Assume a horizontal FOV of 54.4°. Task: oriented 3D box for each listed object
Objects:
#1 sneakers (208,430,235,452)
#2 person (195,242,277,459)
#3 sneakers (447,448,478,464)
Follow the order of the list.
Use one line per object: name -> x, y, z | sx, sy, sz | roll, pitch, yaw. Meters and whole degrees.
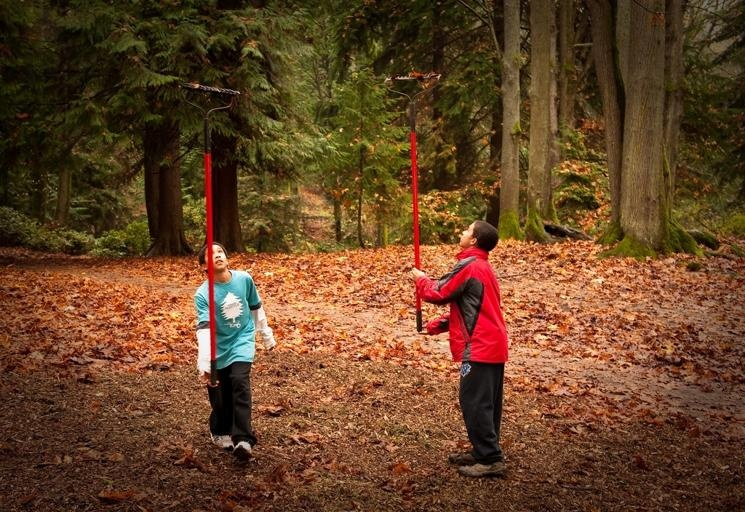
sneakers -> -2.483, 3.068, 12.046 | 0.199, 0.208, 0.463 | 0, 11, -41
person -> -2.290, 1.530, 11.943 | 1.153, 3.462, 0.870 | -2, 7, -15
sneakers -> 1.502, 3.336, 12.158 | 0.499, 0.231, 0.189 | 1, 2, 19
